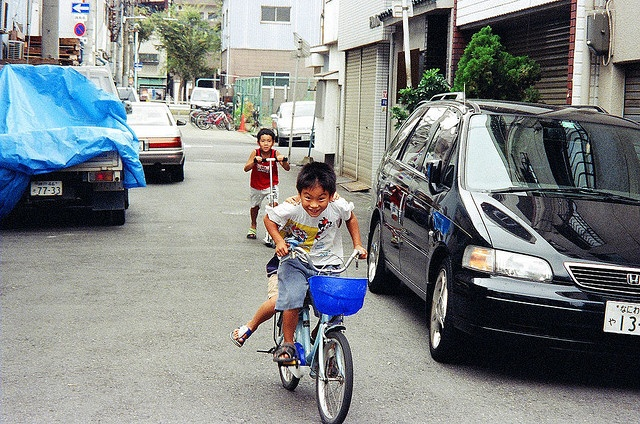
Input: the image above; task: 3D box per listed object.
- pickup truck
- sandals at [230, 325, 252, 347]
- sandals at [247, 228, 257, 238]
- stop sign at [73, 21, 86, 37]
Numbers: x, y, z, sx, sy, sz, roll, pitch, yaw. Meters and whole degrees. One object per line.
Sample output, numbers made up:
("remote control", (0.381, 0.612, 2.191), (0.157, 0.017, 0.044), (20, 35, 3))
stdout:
("pickup truck", (-5.096, -1.184, 11.905), (2.189, 2.393, 3.830), (-1, 9, -13))
("sandals", (-0.646, 1.042, 4.840), (0.120, 0.102, 0.267), (-27, 2, -8))
("sandals", (-1.237, 0.389, 10.549), (0.148, 0.192, 0.437), (1, -4, -4))
("stop sign", (-9.615, -7.360, 23.124), (0.330, 0.543, 1.717), (-6, 15, -22))
